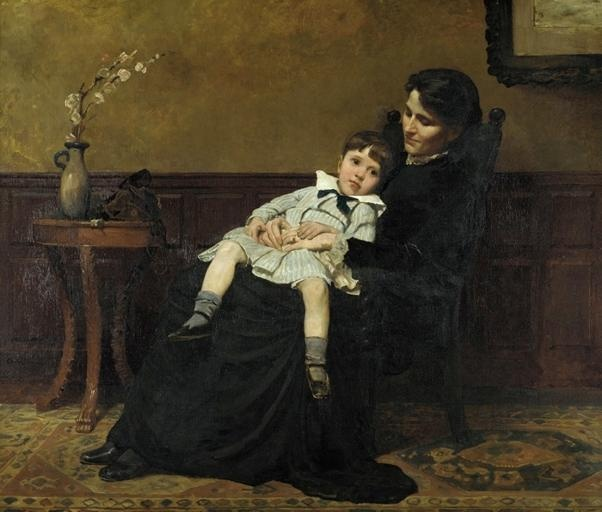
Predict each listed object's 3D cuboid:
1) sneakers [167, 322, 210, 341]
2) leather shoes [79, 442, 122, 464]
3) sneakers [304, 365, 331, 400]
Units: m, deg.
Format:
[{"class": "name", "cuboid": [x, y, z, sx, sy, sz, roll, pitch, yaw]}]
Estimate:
[{"class": "sneakers", "cuboid": [-0.467, 0.320, 4.108, 0.144, 0.044, 0.078, 0, 1, -16]}, {"class": "leather shoes", "cuboid": [-0.876, 0.860, 4.232, 0.192, 0.067, 0.085, 1, -1, 1]}, {"class": "sneakers", "cuboid": [0.077, 0.526, 4.081, 0.112, 0.139, 0.035, 1, -24, -12]}]
